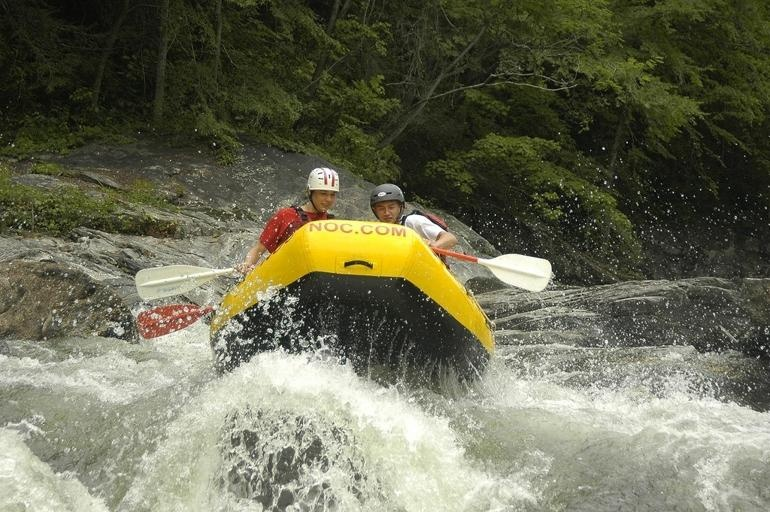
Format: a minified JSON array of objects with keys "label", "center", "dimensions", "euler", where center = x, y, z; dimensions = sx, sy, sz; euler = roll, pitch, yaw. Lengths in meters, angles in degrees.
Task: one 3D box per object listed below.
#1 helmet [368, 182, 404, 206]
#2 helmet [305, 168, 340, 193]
[{"label":"helmet","center":[0.052,-0.797,10.436],"dimensions":[0.273,0.410,0.298],"euler":[-6,30,11]},{"label":"helmet","center":[-0.869,-1.059,10.340],"dimensions":[0.299,0.311,0.410],"euler":[4,11,-18]}]
